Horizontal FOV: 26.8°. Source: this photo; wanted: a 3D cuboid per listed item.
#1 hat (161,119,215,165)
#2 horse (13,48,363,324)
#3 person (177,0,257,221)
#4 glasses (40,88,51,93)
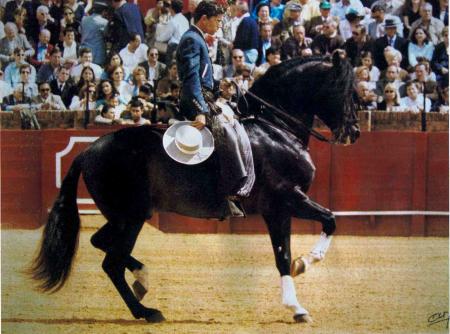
[{"bbox_3d":[-0.316,-0.216,8.710,0.486,0.370,0.153,2,11,0],"label":"hat"},{"bbox_3d":[-0.183,0.287,9.024,3.514,2.447,0.763,-2,1,15],"label":"horse"},{"bbox_3d":[-0.049,-0.534,8.797,0.806,1.961,0.453,4,11,10],"label":"person"},{"bbox_3d":[-1.974,-0.814,10.315,0.064,0.065,0.022,-1,34,0],"label":"glasses"}]
